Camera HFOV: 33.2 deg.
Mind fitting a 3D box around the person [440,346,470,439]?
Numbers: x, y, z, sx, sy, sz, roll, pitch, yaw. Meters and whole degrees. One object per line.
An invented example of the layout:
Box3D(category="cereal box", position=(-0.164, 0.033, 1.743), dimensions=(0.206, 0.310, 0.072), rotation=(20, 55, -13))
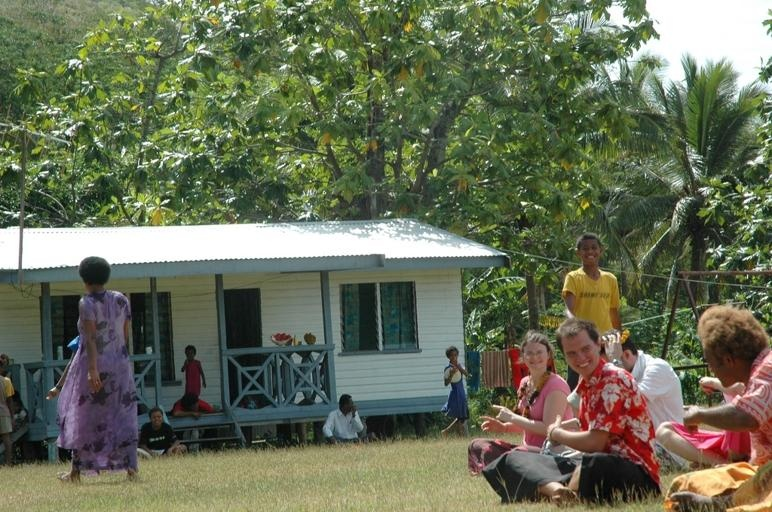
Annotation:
Box3D(category="person", position=(1.527, 2.986, 28.831), dimensions=(0.574, 1.949, 1.048), rotation=(-2, -6, 3))

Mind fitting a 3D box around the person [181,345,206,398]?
Box3D(category="person", position=(-4.368, 2.604, 29.271), dimensions=(0.527, 1.227, 1.415), rotation=(-1, -7, -7))

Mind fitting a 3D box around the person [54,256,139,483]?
Box3D(category="person", position=(-5.162, 2.025, 23.115), dimensions=(1.299, 3.986, 0.832), rotation=(-1, -5, -11))

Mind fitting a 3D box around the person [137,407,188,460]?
Box3D(category="person", position=(-4.807, 3.831, 27.345), dimensions=(1.096, 1.185, 0.833), rotation=(-4, -6, -24))

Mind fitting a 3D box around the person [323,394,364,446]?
Box3D(category="person", position=(-0.921, 3.652, 28.365), dimensions=(0.809, 1.199, 0.871), rotation=(-3, -6, 43))

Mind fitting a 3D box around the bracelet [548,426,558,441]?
Box3D(category="bracelet", position=(2.735, 2.846, 20.906), dimensions=(0.170, 0.244, 0.138), rotation=(-5, -37, 11))
